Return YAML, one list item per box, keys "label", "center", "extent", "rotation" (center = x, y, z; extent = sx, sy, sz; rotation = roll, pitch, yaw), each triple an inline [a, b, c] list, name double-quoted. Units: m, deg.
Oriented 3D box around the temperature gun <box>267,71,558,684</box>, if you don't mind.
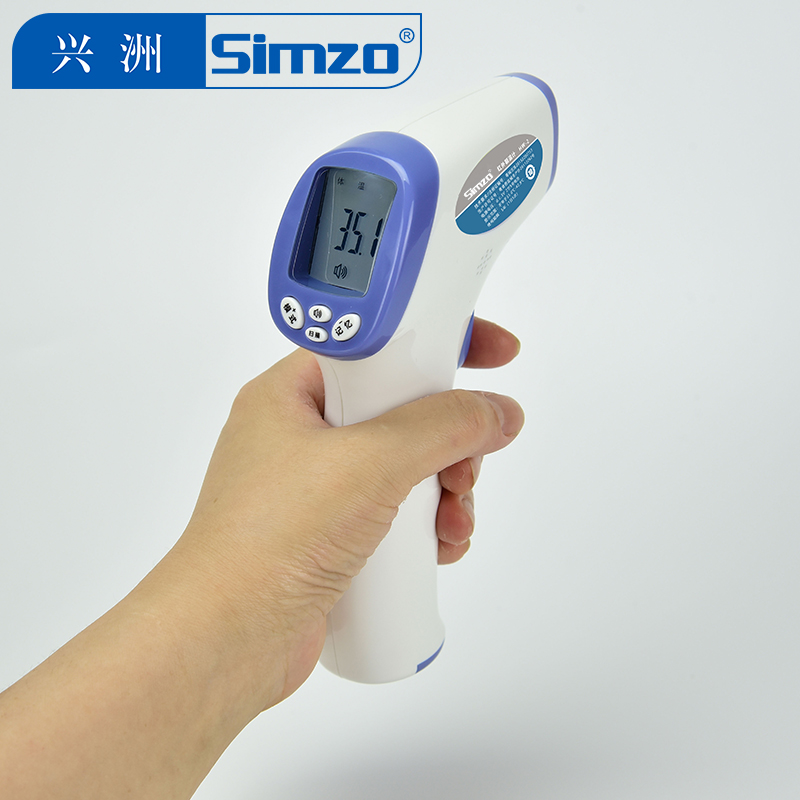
- label: "temperature gun"
  center: [0.073, -0.067, 1.602]
  extent: [0.209, 1.019, 0.793]
  rotation: [14, 31, 27]
